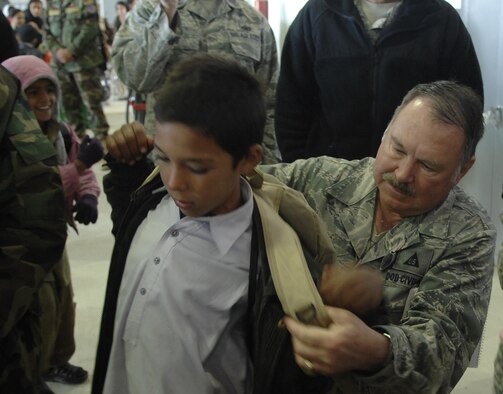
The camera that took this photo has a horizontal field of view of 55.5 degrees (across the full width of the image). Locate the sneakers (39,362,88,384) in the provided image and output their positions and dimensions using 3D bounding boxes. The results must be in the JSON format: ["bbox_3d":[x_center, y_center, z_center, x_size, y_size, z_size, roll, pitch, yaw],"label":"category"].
[{"bbox_3d":[-1.000,0.970,2.616,0.271,0.130,0.123,2,12,-8],"label":"sneakers"}]

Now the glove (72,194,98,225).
[{"bbox_3d":[-0.891,0.062,2.525,0.067,0.163,0.150,10,16,36],"label":"glove"}]
